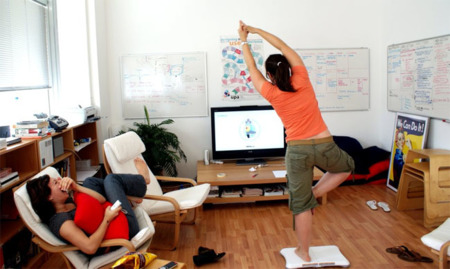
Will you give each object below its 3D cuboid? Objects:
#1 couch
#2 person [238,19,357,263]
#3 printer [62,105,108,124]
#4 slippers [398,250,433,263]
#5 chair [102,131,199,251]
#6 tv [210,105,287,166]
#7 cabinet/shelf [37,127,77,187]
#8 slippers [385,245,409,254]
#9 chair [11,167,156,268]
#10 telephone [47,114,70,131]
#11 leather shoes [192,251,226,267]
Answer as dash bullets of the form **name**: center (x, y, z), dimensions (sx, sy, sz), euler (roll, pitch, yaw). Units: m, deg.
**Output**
- **couch**: center (2.706, 0.553, 5.586), dimensions (1.544, 0.943, 1.045), euler (-1, 1, 2)
- **person**: center (0.853, 0.130, 3.097), dimensions (1.160, 2.927, 0.516), euler (0, 15, 25)
- **printer**: center (-2.416, -0.310, 4.424), dimensions (0.545, 0.261, 0.437), euler (-13, 14, -29)
- **slippers**: center (2.354, 1.541, 3.248), dimensions (0.322, 0.068, 0.131), euler (6, 15, 42)
- **chair**: center (-1.128, 0.628, 4.330), dimensions (1.829, 1.712, 1.315), euler (4, 9, 6)
- **tv**: center (0.440, 0.007, 4.898), dimensions (1.258, 0.827, 0.306), euler (-1, 2, -2)
- **cabinet/shelf**: center (-2.240, 0.287, 3.475), dimensions (0.263, 0.651, 0.778), euler (-1, 12, -6)
- **slippers**: center (2.234, 1.504, 3.401), dimensions (0.238, 0.044, 0.107), euler (-3, 13, -1)
- **chair**: center (-1.402, 0.887, 3.224), dimensions (1.447, 1.192, 1.009), euler (-1, 19, -5)
- **telephone**: center (-2.384, -0.160, 3.739), dimensions (0.263, 0.099, 0.194), euler (34, 32, 20)
- **leather shoes**: center (-0.221, 1.559, 3.389), dimensions (0.439, 0.145, 0.154), euler (-11, 5, -16)
